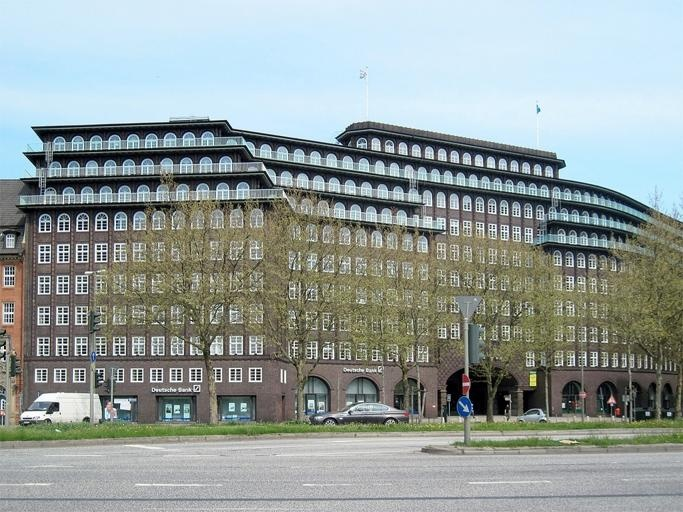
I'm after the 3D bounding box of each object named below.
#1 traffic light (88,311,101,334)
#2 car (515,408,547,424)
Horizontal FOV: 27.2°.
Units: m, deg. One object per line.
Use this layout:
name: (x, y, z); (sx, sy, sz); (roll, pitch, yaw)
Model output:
traffic light: (-17.998, 4.821, 103.122); (0.691, 1.631, 1.349); (4, -13, -19)
car: (18.439, 15.221, 135.470); (2.338, 1.662, 5.160); (-2, -14, 4)
